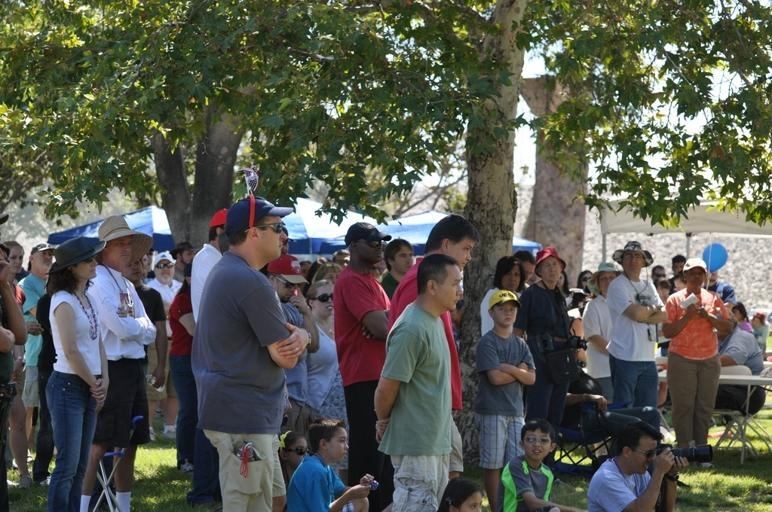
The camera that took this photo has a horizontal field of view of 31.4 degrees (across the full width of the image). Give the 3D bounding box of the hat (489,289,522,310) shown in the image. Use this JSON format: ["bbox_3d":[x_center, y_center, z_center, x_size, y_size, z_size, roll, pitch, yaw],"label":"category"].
[{"bbox_3d":[1.437,0.513,16.561,0.353,0.258,0.384,-1,-10,3],"label":"hat"}]

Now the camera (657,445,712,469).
[{"bbox_3d":[3.531,2.312,15.831,0.720,0.258,0.273,1,-2,-6],"label":"camera"}]

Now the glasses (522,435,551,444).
[{"bbox_3d":[1.749,2.140,15.863,0.302,0.089,0.091,-2,-10,10],"label":"glasses"}]

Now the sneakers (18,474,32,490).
[{"bbox_3d":[-4.472,2.807,17.095,0.147,0.161,0.230,2,-11,-15],"label":"sneakers"}]

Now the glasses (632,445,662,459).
[{"bbox_3d":[3.075,2.247,15.747,0.291,0.149,0.148,-2,-10,9],"label":"glasses"}]

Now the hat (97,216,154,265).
[{"bbox_3d":[-3.113,-0.201,16.491,0.605,0.304,0.597,-23,-26,-25],"label":"hat"}]

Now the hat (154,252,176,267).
[{"bbox_3d":[-3.446,0.033,21.384,0.266,0.141,0.409,-1,-6,-12],"label":"hat"}]

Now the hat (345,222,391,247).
[{"bbox_3d":[-0.198,-0.234,15.815,0.413,0.202,0.256,-3,3,6],"label":"hat"}]

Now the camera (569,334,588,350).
[{"bbox_3d":[2.428,1.096,17.414,0.171,0.113,0.232,4,-4,-4],"label":"camera"}]

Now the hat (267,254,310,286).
[{"bbox_3d":[-1.162,0.165,16.481,0.452,0.247,0.309,11,-2,8],"label":"hat"}]

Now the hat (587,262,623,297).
[{"bbox_3d":[2.991,0.294,19.048,0.446,0.138,0.482,-16,-16,-6],"label":"hat"}]

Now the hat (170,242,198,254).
[{"bbox_3d":[-2.840,-0.105,19.139,0.249,0.090,0.214,-14,-2,-6],"label":"hat"}]

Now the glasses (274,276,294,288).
[{"bbox_3d":[-1.212,0.312,16.334,0.253,0.168,0.125,3,-10,-16],"label":"glasses"}]

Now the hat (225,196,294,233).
[{"bbox_3d":[-1.327,-0.409,14.412,0.605,0.296,0.372,-14,9,-7],"label":"hat"}]

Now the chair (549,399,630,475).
[{"bbox_3d":[2.776,2.394,18.084,1.252,1.174,0.916,4,-8,-38],"label":"chair"}]
